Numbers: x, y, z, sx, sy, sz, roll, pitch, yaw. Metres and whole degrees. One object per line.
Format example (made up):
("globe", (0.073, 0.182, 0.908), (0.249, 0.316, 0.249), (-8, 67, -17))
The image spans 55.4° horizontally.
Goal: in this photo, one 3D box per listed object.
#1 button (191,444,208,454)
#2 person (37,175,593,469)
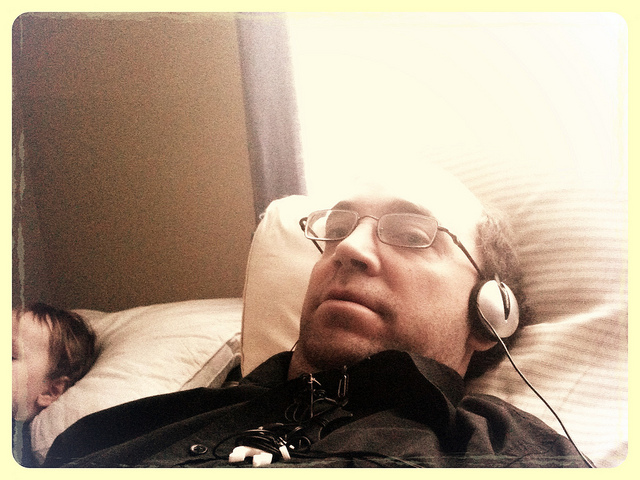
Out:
("button", (-0.391, 0.670, 1.961), (0.051, 0.008, 0.028), (0, 82, 5))
("person", (0.197, 0.112, 2.511), (2.055, 0.963, 1.251), (3, 56, 28))
